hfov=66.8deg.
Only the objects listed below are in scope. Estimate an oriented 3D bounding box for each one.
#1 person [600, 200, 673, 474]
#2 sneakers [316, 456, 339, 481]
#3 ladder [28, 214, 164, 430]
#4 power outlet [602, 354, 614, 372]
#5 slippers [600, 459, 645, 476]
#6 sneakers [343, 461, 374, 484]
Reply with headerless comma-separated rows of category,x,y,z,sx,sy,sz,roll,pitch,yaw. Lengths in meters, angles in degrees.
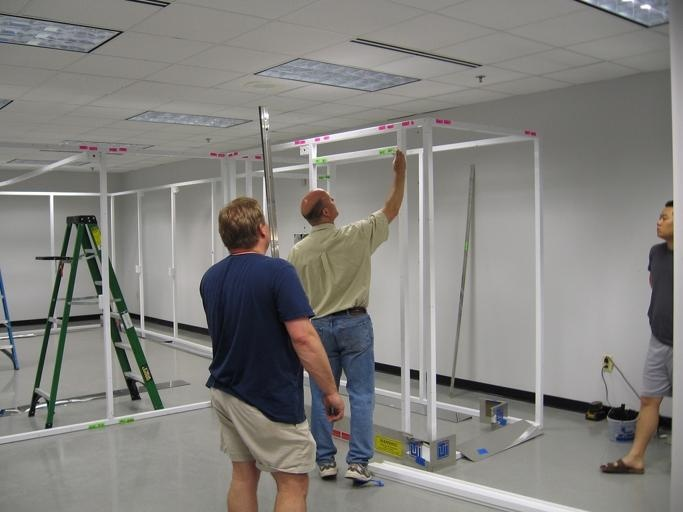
person,2.520,0.665,4.263,0.721,2.187,0.396,-7,8,-43
sneakers,-0.102,1.689,4.114,0.090,0.110,0.235,-3,-1,-3
ladder,-3.421,0.624,6.838,1.399,2.320,3.796,-5,6,-31
power outlet,2.782,1.121,5.359,0.052,0.149,0.101,1,-4,-32
slippers,2.313,1.717,4.261,0.334,0.110,0.135,0,-6,8
sneakers,0.144,1.691,4.035,0.102,0.128,0.294,1,-10,32
